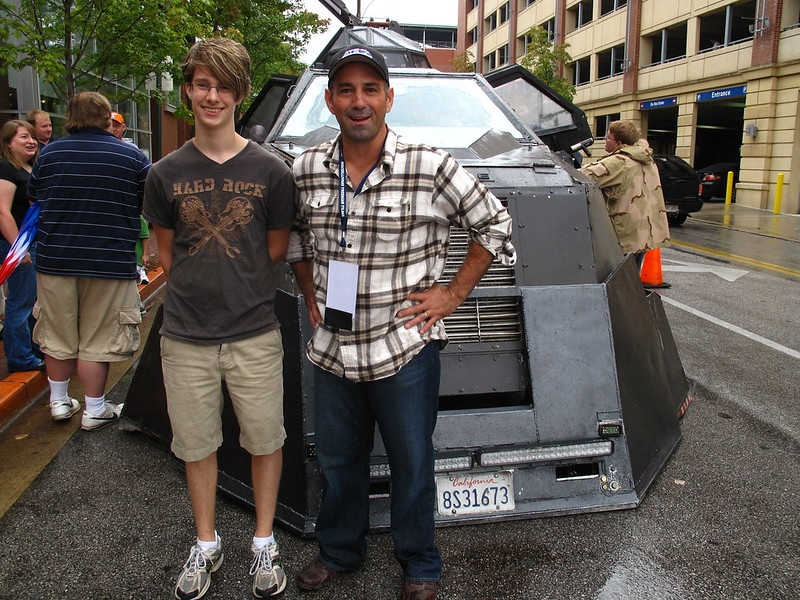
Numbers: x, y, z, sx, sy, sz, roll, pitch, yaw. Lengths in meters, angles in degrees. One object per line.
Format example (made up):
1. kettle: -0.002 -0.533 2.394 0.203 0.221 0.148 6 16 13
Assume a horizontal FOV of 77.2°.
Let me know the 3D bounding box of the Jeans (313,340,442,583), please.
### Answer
1. Jeans: -0.154 0.694 2.388 0.579 1.292 0.341 0 12 -3

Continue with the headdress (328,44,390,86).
1. headdress: -0.156 -1.008 2.170 0.222 0.161 0.359 1 29 8

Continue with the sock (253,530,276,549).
1. sock: -0.648 1.145 2.405 0.085 0.053 0.055 -21 -14 26

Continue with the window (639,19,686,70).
1. window: 15.583 -14.546 28.573 1.604 1.818 2.862 -8 8 -38

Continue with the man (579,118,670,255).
1. man: 2.866 -1.536 6.811 1.091 1.565 1.090 1 25 21

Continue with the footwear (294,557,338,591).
1. footwear: -0.403 1.302 2.376 0.089 0.077 0.185 9 -5 21

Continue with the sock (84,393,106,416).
1. sock: -2.395 0.821 3.992 0.134 0.140 0.153 -1 -13 -6

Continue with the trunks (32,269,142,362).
1. trunks: -2.391 0.117 3.834 0.663 0.673 0.377 1 0 -1

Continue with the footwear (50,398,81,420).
1. footwear: -2.771 0.879 4.184 0.119 0.137 0.311 -1 8 -1

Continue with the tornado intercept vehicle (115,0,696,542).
1. tornado intercept vehicle: 0.211 -0.644 4.838 3.133 1.836 4.642 -2 13 -8

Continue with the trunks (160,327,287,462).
1. trunks: -0.846 0.403 2.450 0.528 0.748 0.270 -2 24 -18
